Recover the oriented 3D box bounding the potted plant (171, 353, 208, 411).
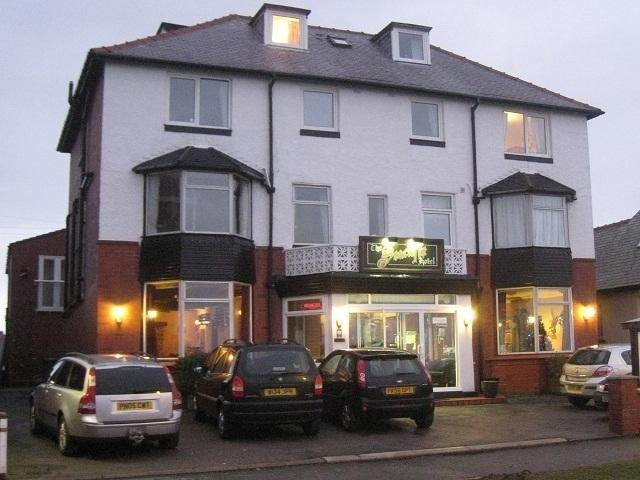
[{"bbox_3d":[-4.082,3.969,19.326,1.426,1.636,1.560,5,-10,-11],"label":"potted plant"}]

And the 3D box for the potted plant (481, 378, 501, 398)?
[{"bbox_3d":[5.592,4.870,21.777,0.608,0.571,0.587,-1,-6,4],"label":"potted plant"}]

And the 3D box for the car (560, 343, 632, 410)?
[{"bbox_3d":[7.932,3.830,19.235,2.738,1.123,1.316,0,-2,-39],"label":"car"}]

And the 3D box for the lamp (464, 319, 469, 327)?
[{"bbox_3d":[4.936,2.799,22.258,0.072,0.189,0.174,2,1,-6],"label":"lamp"}]

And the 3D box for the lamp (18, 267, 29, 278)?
[{"bbox_3d":[-14.720,1.639,32.864,0.467,0.453,0.108,-30,13,-33],"label":"lamp"}]
